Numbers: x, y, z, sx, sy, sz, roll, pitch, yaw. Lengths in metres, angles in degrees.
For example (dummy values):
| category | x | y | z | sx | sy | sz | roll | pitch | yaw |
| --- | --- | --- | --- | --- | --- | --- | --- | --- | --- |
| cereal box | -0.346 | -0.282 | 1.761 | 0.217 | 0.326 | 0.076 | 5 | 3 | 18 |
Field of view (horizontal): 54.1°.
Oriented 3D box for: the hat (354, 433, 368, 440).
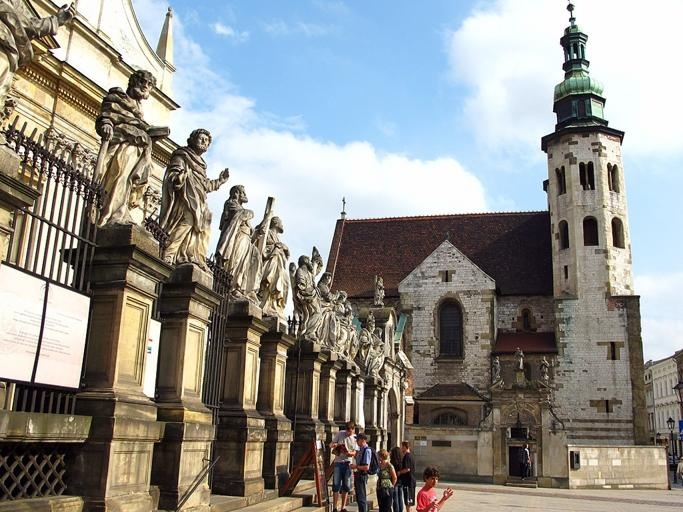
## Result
| category | x | y | z | sx | sy | sz | roll | pitch | yaw |
| --- | --- | --- | --- | --- | --- | --- | --- | --- | --- |
| hat | 0.362 | 3.144 | 11.703 | 0.149 | 0.143 | 0.124 | 3 | -15 | 1 |

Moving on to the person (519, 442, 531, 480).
| category | x | y | z | sx | sy | sz | roll | pitch | yaw |
| --- | --- | --- | --- | --- | --- | --- | --- | --- | --- |
| person | 8.481 | 9.402 | 30.816 | 0.465 | 1.638 | 1.079 | -4 | -20 | 14 |
